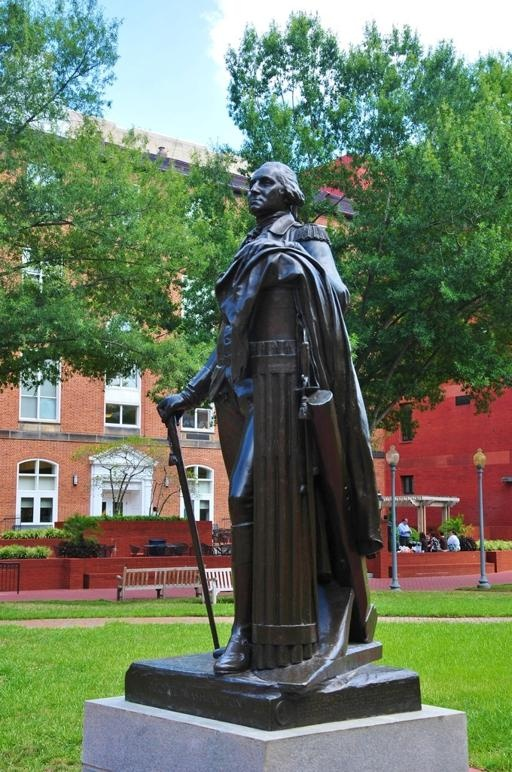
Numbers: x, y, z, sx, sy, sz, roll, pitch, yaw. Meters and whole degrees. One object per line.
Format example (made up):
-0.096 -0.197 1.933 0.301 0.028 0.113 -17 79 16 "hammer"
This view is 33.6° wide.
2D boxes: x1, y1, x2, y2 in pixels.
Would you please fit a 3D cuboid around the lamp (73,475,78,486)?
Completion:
-8.270 4.327 38.822 0.251 0.501 0.285 3 -14 -13 "lamp"

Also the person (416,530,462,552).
7.490 6.433 34.507 1.545 0.746 1.159 -3 -9 37 "person"

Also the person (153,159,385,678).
0.123 0.016 3.922 0.811 2.454 0.684 -3 -14 12 "person"
